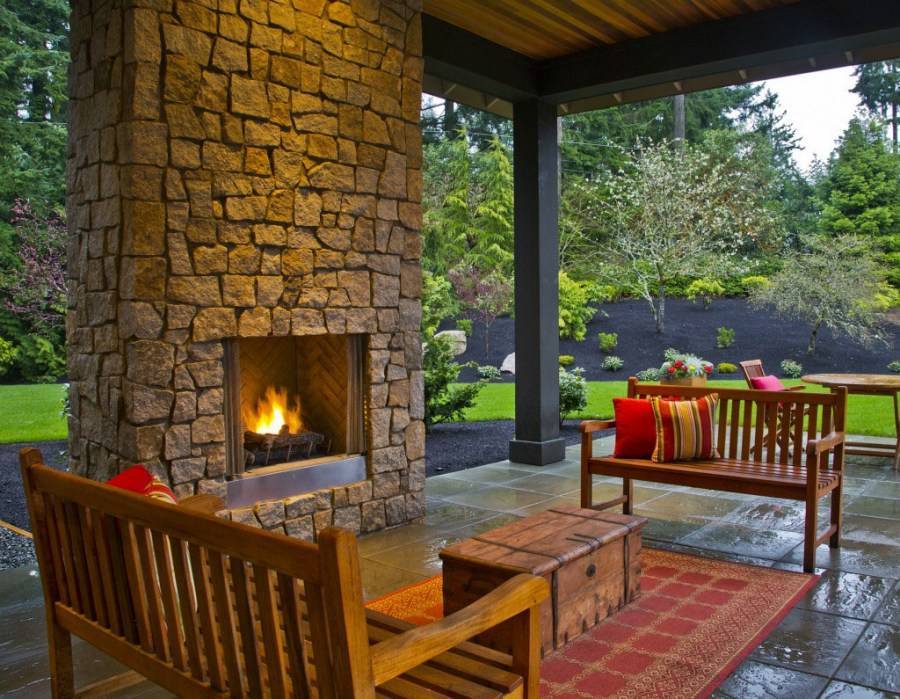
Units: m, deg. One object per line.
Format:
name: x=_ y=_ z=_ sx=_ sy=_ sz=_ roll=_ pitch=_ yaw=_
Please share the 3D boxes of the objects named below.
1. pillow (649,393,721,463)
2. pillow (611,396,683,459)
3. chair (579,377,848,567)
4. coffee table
pillow: x=1.610 y=0.561 z=4.415 sx=0.579 sy=0.419 sz=0.197 roll=2 pitch=-4 yaw=-24
pillow: x=1.338 y=0.566 z=4.577 sx=0.495 sy=0.412 sz=0.184 roll=11 pitch=-16 yaw=-40
chair: x=1.833 y=0.817 z=4.529 sx=0.647 sy=0.961 sz=1.665 roll=-11 pitch=6 yaw=-40
coffee table: x=0.495 y=1.138 z=3.212 sx=0.579 sy=0.369 sz=1.043 roll=1 pitch=3 yaw=45
